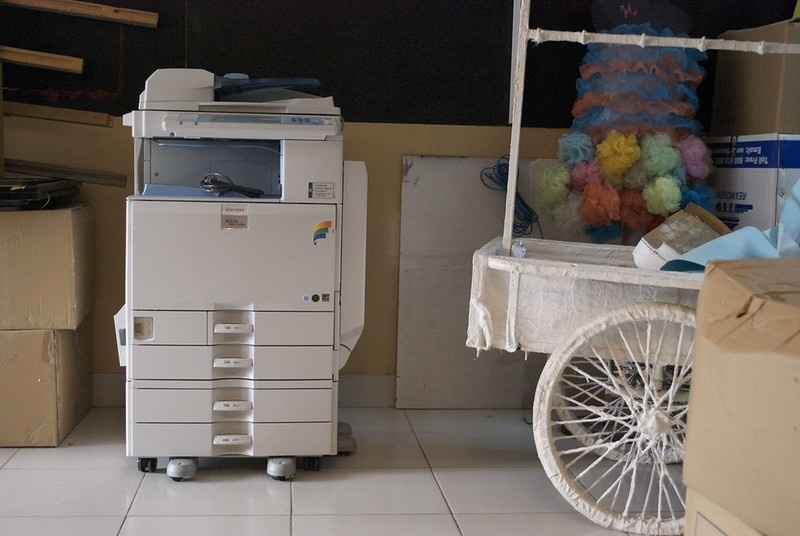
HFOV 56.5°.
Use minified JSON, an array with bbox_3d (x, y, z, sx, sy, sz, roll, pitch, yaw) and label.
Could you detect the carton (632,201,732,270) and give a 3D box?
[{"bbox_3d":[1.215,-0.151,3.486,0.383,0.230,0.512,-3,-22,-2],"label":"carton"}]
